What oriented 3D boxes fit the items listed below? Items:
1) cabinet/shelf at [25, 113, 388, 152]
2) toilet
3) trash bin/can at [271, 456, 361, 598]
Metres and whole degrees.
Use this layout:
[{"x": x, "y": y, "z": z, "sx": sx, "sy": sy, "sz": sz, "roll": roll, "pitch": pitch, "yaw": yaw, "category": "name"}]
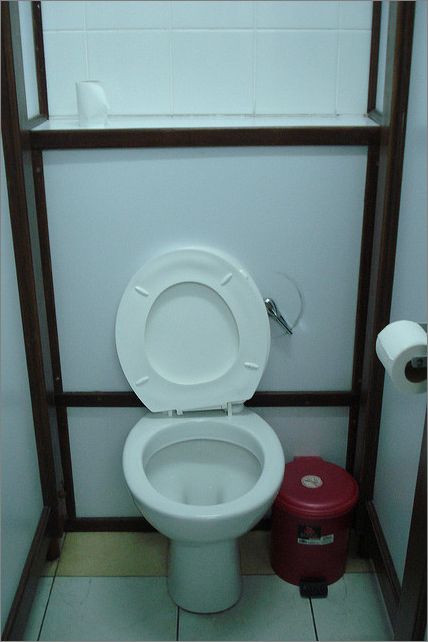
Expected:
[{"x": -0.017, "y": -0.468, "z": 1.177, "sx": 0.829, "sy": 0.097, "sz": 0.183, "roll": 0, "pitch": 14, "yaw": -1, "category": "cabinet/shelf"}, {"x": -0.020, "y": 0.174, "z": 1.060, "sx": 0.377, "sy": 0.635, "sz": 0.422, "roll": -3, "pitch": 12, "yaw": -13, "category": "toilet"}, {"x": 0.230, "y": 0.520, "z": 1.308, "sx": 0.196, "sy": 0.308, "sz": 0.298, "roll": 2, "pitch": 25, "yaw": 2, "category": "trash bin/can"}]
